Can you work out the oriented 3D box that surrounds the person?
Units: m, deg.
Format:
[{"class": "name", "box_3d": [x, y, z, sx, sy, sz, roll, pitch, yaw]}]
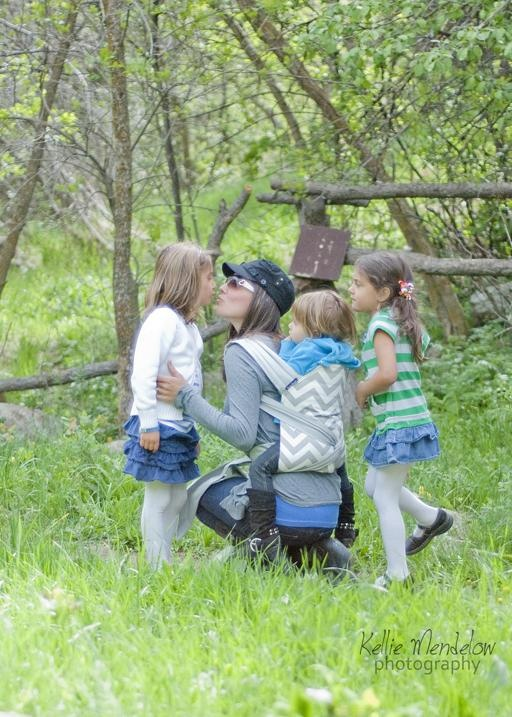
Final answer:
[{"class": "person", "box_3d": [-0.081, 0.176, 2.840, 0.886, 1.218, 0.498, 0, 7, 8]}]

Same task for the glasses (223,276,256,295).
[{"class": "glasses", "box_3d": [-0.063, -0.268, 2.830, 0.064, 0.022, 0.083, 15, -2, 38]}]

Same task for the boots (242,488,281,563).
[{"class": "boots", "box_3d": [0.033, 0.593, 2.638, 0.104, 0.276, 0.096, -2, 7, -10]}]
